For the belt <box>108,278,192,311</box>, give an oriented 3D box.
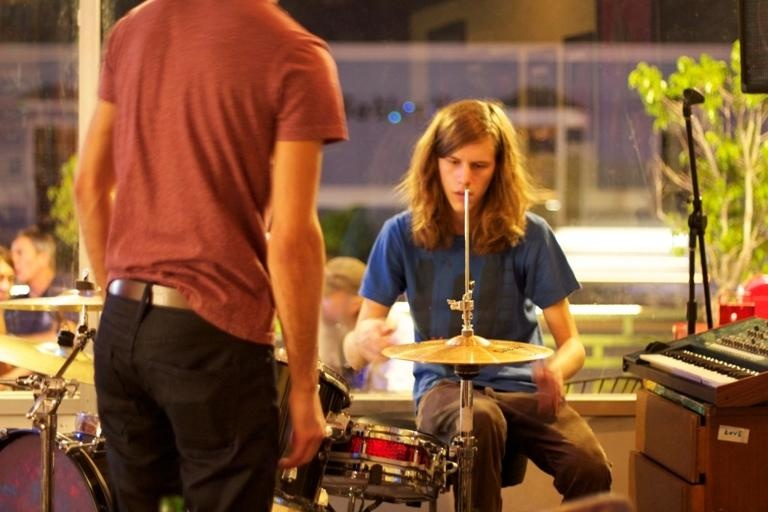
[{"bbox_3d":[-0.794,0.125,3.871,0.147,0.037,0.151,24,-6,-36],"label":"belt"}]
